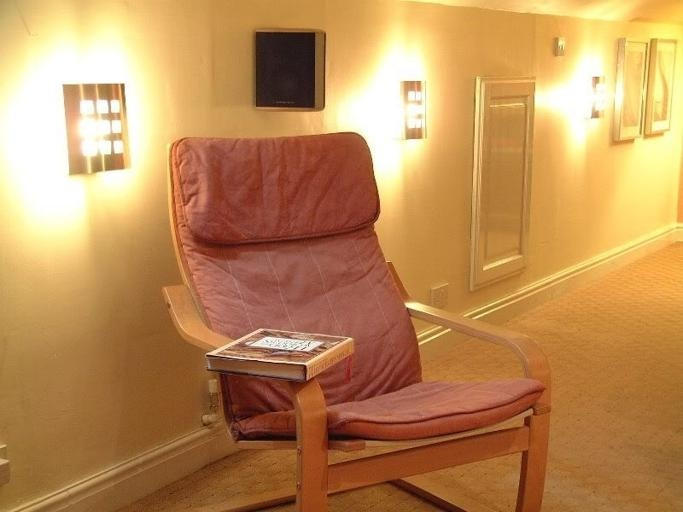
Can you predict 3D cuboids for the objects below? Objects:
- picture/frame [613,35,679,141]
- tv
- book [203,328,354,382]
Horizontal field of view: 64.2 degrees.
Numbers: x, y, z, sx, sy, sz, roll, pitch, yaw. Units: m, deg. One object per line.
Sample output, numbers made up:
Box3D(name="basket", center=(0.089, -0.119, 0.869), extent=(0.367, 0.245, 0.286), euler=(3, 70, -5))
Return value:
Box3D(name="picture/frame", center=(2.682, -1.520, 4.839), extent=(0.140, 0.904, 1.068), euler=(7, 13, 38))
Box3D(name="tv", center=(-0.245, -0.776, 2.256), extent=(0.333, 0.355, 0.078), euler=(-6, 27, -30))
Box3D(name="book", center=(-0.154, 0.253, 1.401), extent=(0.314, 0.067, 0.221), euler=(2, 12, 20))
